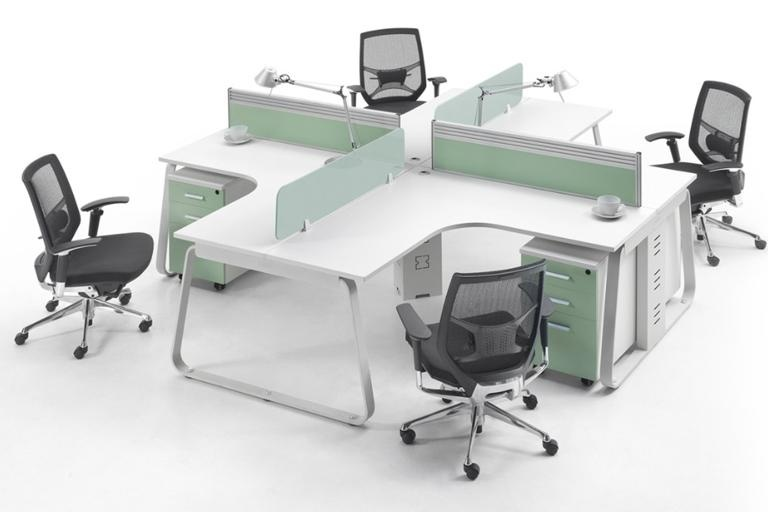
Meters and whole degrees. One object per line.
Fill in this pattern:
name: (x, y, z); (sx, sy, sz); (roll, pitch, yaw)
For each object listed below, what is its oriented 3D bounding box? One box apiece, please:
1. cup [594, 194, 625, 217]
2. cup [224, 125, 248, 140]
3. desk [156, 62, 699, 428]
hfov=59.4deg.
cup: (1.446, -0.321, 4.352); (0.149, 0.093, 0.171); (2, 17, 13)
cup: (-1.226, -1.017, 5.557); (0.145, 0.068, 0.158); (-2, 12, 0)
desk: (0.170, -0.224, 4.390); (2.943, 1.458, 2.845); (13, 27, 30)
